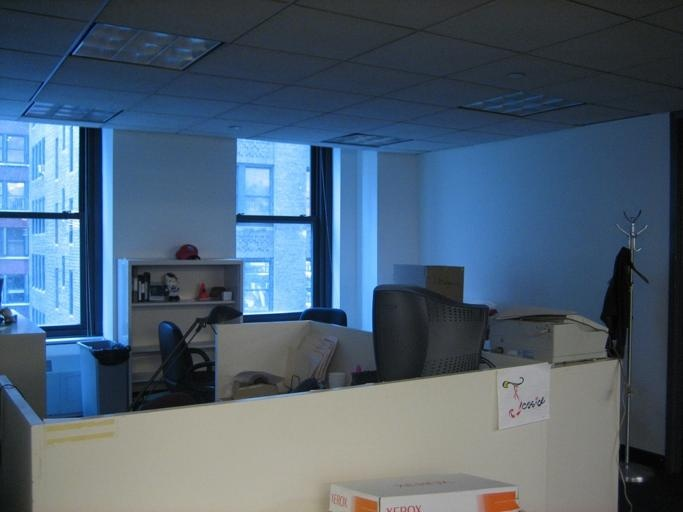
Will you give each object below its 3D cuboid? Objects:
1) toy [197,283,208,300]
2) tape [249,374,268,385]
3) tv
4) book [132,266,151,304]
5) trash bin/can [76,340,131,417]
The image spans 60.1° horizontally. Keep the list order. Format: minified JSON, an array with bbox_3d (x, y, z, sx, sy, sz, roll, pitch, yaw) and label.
[{"bbox_3d":[-1.418,0.357,6.006,0.149,0.194,0.146,1,-4,-7],"label":"toy"},{"bbox_3d":[-0.535,0.776,3.725,0.066,0.042,0.087,2,-4,-5],"label":"tape"},{"bbox_3d":[0.355,0.262,2.494,0.605,0.442,0.353,2,3,22],"label":"tv"},{"bbox_3d":[-1.918,0.273,5.626,0.172,0.335,0.182,-3,0,-16],"label":"book"},{"bbox_3d":[-2.142,1.110,5.351,0.381,0.696,0.602,-3,0,-29],"label":"trash bin/can"}]
